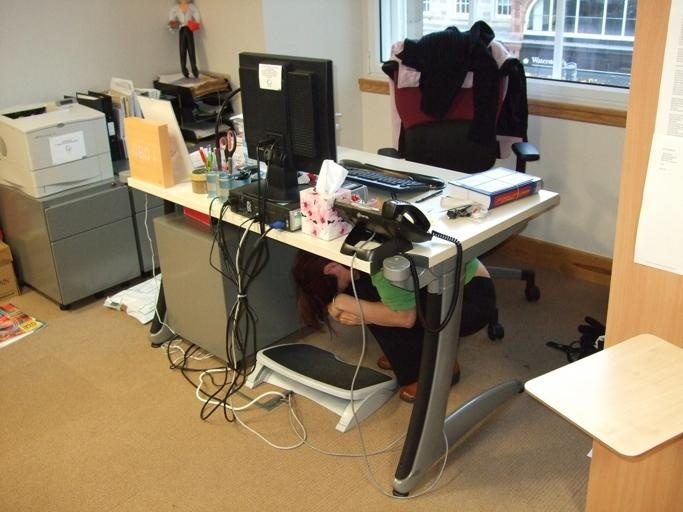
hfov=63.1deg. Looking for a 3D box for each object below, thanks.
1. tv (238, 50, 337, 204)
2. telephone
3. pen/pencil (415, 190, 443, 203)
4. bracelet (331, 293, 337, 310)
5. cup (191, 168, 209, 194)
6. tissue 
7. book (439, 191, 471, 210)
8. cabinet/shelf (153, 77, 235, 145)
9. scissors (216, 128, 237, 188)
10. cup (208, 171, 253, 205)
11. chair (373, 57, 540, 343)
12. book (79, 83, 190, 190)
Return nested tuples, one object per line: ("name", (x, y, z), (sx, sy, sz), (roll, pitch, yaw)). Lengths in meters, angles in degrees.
("tv", (-0.215, -0.513, 2.253), (0.489, 0.587, 0.202), (21, 35, 33))
("telephone", (0.142, -0.137, 2.064), (0.284, 0.232, 0.355), (-22, 28, -40))
("pen/pencil", (0.371, -0.256, 2.400), (0.097, 0.029, 0.026), (-29, 2, -26))
("bracelet", (-0.035, 0.196, 2.429), (0.013, 0.044, 0.030), (20, -3, -7))
("cup", (-0.635, -0.341, 2.564), (0.093, 0.092, 0.093), (0, 27, 0))
("tissue ", (-0.065, -0.209, 2.148), (0.205, 0.372, 0.191), (17, 25, 33))
("book", (0.471, -0.238, 2.292), (0.085, 0.036, 0.085), (-23, 34, -33))
("cabinet/shelf", (-0.926, -0.908, 3.480), (0.578, 0.459, 0.323), (18, 32, 34))
("scissors", (-0.512, -0.418, 2.492), (0.074, 0.260, 0.043), (-11, 30, -33))
("cup", (-0.498, -0.332, 2.465), (0.141, 0.109, 0.141), (1, 27, 0))
("chair", (0.544, -0.310, 3.205), (0.915, 1.540, 0.894), (14, 44, 34))
("book", (-1.174, -0.641, 3.050), (0.216, 0.591, 0.622), (-23, 39, -35))
